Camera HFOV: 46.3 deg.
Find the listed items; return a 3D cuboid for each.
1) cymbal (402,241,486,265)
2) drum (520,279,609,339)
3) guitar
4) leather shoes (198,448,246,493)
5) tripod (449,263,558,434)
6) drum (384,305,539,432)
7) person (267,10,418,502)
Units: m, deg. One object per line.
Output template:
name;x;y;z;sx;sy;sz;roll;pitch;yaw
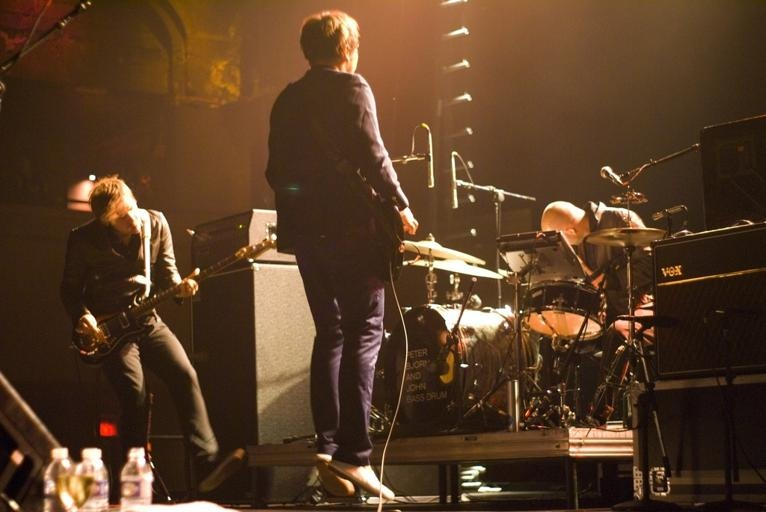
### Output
cymbal;0.423;-0.034;7.126;0.320;0.078;0.330;15;0;12
drum;1.448;0.435;7.265;0.498;0.215;0.519;7;-27;4
guitar;-1.687;0.357;7.222;1.160;0.343;0.162;-37;-22;-17
leather shoes;-1.237;1.630;6.798;0.464;0.153;0.238;-41;-6;12
tripod;0.938;0.766;7.225;1.045;1.519;1.193;-1;-7;8
drum;0.597;0.898;7.532;1.169;1.054;1.032;3;1;-38
person;-0.324;0.138;5.802;0.881;2.710;0.616;3;-14;-11
